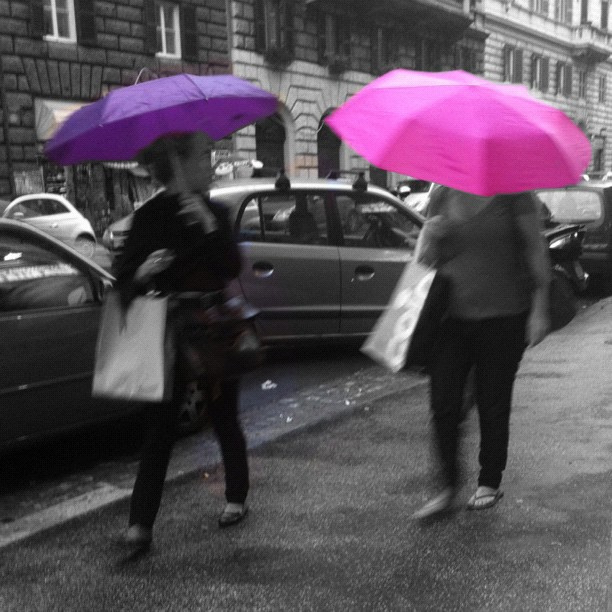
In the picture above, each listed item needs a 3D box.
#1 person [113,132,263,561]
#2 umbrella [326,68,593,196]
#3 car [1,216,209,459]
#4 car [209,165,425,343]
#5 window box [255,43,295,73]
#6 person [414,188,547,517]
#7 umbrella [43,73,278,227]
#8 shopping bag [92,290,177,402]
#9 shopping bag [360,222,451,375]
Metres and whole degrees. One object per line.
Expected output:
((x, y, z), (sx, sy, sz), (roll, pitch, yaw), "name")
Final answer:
((-0.478, 0.177, 2.453), (0.554, 1.730, 0.378), (-3, 5, -23), "person")
((0.617, -0.702, 2.378), (1.025, 0.541, 0.594), (-1, 6, 4), "umbrella")
((-1.087, 0.065, 3.883), (1.643, 1.074, 0.923), (-9, 7, -36), "car")
((0.363, -0.446, 5.269), (1.933, 1.261, 1.209), (-7, 9, -23), "car")
((-0.978, -8.583, 20.743), (1.534, 0.985, 0.386), (-7, 8, -39), "window box")
((0.756, 0.237, 2.638), (0.540, 1.493, 0.277), (0, 5, 11), "person")
((-0.601, -0.876, 2.906), (0.831, 0.714, 1.021), (3, 8, 28), "umbrella")
((-0.674, 0.158, 2.363), (0.357, 0.447, 0.127), (1, 5, 18), "shopping bag")
((0.426, 0.037, 2.712), (0.284, 0.669, 0.392), (4, 26, -5), "shopping bag")
